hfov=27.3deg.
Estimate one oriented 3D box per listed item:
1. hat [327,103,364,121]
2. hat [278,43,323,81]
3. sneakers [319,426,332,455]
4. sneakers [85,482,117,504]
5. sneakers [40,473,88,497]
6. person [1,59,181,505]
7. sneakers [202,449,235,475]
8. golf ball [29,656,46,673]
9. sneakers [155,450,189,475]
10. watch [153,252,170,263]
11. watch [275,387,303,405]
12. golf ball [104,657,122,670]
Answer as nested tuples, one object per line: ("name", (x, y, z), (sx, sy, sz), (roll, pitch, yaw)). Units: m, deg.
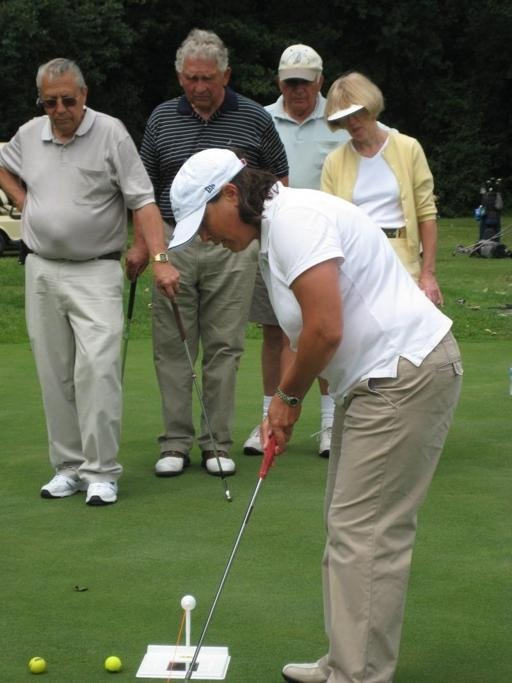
("hat", (0.369, -0.969, 4.476), (0.169, 0.069, 0.066), (4, 10, 25))
("hat", (0.229, -1.405, 5.306), (0.154, 0.120, 0.238), (3, 15, 9))
("sneakers", (0.332, 0.492, 5.148), (0.087, 0.112, 0.253), (0, 3, 0))
("sneakers", (-0.639, 0.623, 4.363), (0.130, 0.080, 0.134), (-2, 9, -11))
("sneakers", (-0.812, 0.619, 4.484), (0.081, 0.090, 0.204), (-3, -10, 23))
("person", (-0.763, -0.256, 4.445), (0.779, 1.827, 0.481), (5, 11, 27))
("sneakers", (-0.167, 0.557, 4.819), (0.080, 0.077, 0.198), (-1, -4, -19))
("golf ball", (-0.573, 0.853, 2.796), (0.042, 0.040, 0.040), (-2, 7, 0))
("sneakers", (-0.382, 0.557, 4.844), (0.087, 0.090, 0.240), (-1, -8, 4))
("watch", (-0.400, -0.347, 4.453), (0.056, 0.037, 0.059), (7, -9, -17))
("watch", (0.091, 0.143, 2.759), (0.045, 0.027, 0.053), (27, -6, -6))
("golf ball", (-0.380, 0.856, 2.796), (0.040, 0.037, 0.037), (8, 26, -9))
